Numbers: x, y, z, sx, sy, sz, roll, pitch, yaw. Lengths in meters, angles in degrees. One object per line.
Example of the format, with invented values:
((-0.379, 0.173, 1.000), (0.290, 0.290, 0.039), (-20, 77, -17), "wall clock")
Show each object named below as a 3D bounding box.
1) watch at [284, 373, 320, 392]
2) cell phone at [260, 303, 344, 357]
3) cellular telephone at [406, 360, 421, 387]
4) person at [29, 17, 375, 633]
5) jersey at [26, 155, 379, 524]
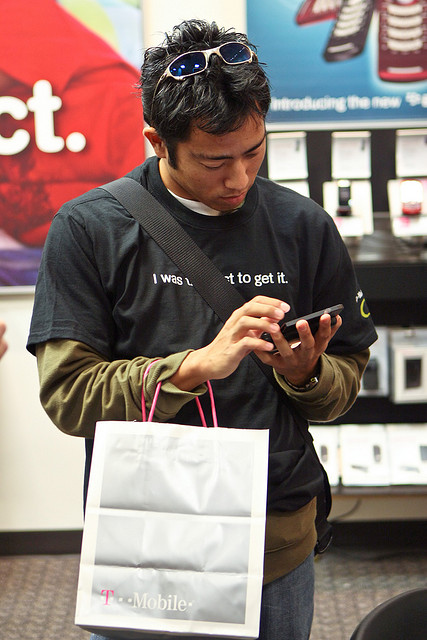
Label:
((0.140, 0.100, 0.952), (0.056, 0.026, 0.023), (-1, 7, 10), "watch")
((0.122, 0.013, 0.851), (0.175, 0.018, 0.096), (-13, -13, -46), "cell phone")
((0.780, 0.209, 2.337), (0.053, 0.108, 0.004), (-1, 7, 4), "cellular telephone")
((-0.019, 0.040, 0.931), (0.529, 1.012, 0.457), (0, 7, 13), "person")
((-0.026, -0.046, 0.959), (0.437, 0.940, 0.304), (-2, 7, -4), "jersey")
